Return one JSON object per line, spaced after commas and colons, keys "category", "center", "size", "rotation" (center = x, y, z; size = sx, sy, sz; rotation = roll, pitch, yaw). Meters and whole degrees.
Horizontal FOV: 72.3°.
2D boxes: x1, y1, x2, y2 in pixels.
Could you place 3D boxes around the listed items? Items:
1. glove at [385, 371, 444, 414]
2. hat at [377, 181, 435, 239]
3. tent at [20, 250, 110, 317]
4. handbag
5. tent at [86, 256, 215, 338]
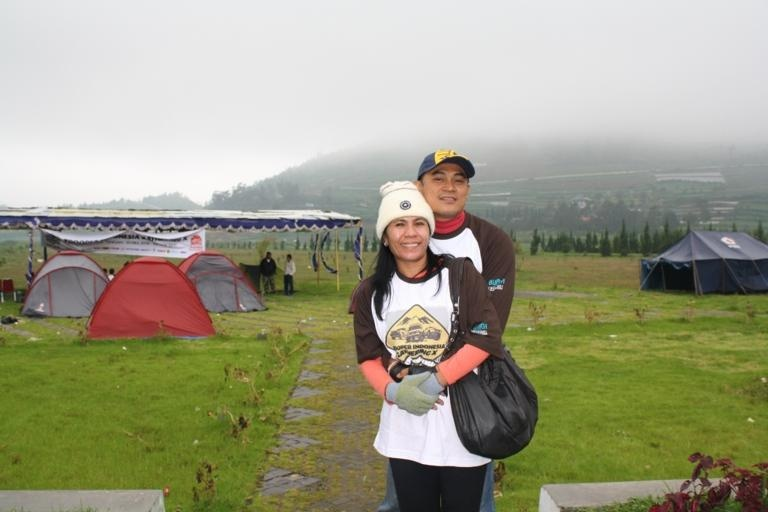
{"category": "glove", "center": [0.267, 1.216, 4.687], "size": [0.502, 0.413, 0.204], "rotation": [0, 2, 8]}
{"category": "hat", "center": [0.142, -0.498, 5.031], "size": [0.498, 0.545, 0.534], "rotation": [-4, 22, -10]}
{"category": "tent", "center": [-12.102, 1.242, 20.369], "size": [2.923, 2.226, 2.900], "rotation": [0, 2, -21]}
{"category": "handbag", "center": [1.006, 1.322, 4.776], "size": [0.849, 0.941, 0.286], "rotation": [-1, 2, -22]}
{"category": "tent", "center": [-6.779, 0.870, 15.794], "size": [2.761, 1.699, 2.747], "rotation": [-16, 24, -18]}
